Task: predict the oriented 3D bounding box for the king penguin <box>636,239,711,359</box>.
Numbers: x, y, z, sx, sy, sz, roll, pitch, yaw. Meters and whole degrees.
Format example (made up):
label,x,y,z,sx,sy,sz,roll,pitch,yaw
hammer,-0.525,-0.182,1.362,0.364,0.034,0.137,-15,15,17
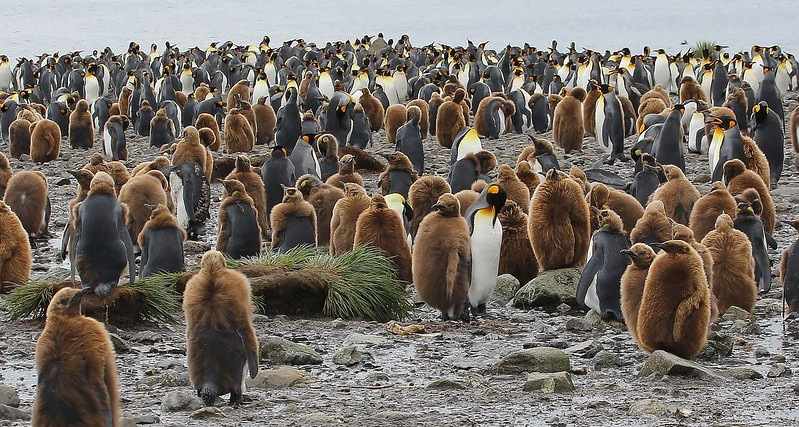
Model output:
label,x,y,z,sx,sy,sz,roll,pitch,yaw
king penguin,4.210,1.339,17.508,1.060,1.855,0.328,0,10,8
